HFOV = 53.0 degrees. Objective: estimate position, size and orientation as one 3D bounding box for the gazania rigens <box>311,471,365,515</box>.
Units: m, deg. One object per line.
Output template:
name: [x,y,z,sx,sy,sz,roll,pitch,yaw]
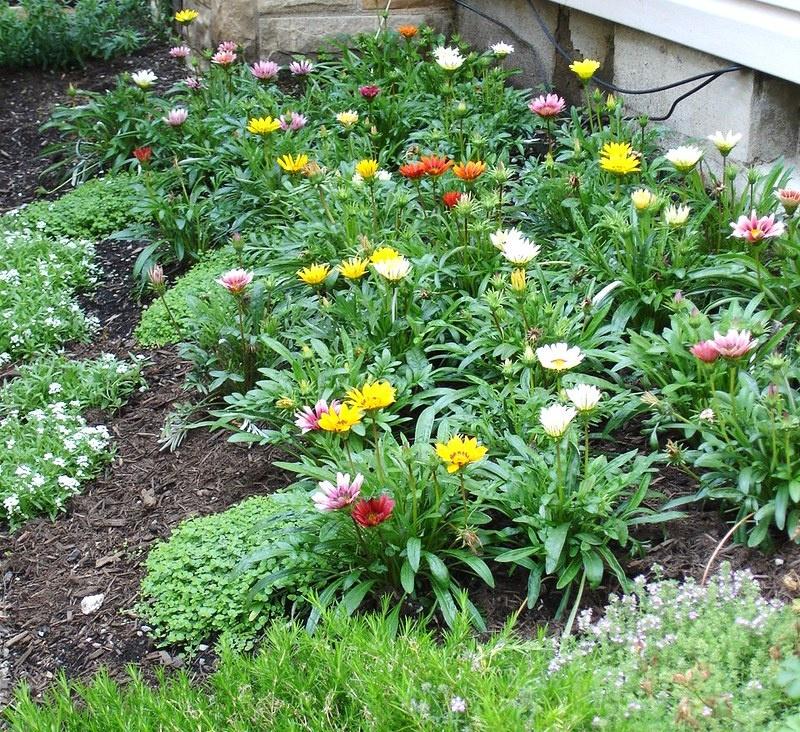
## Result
gazania rigens: [-0.184,0.363,2.346,0.136,0.111,0.114,-6,24,-7]
